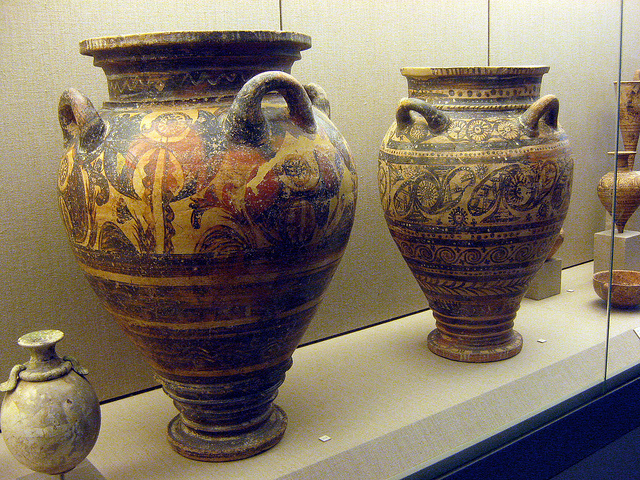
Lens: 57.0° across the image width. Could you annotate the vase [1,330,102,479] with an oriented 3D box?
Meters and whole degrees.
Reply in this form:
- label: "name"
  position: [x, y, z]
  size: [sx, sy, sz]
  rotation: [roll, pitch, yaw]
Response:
- label: "vase"
  position: [-0.669, 0.412, 1.455]
  size: [0.178, 0.331, 0.200]
  rotation: [6, 23, 37]
